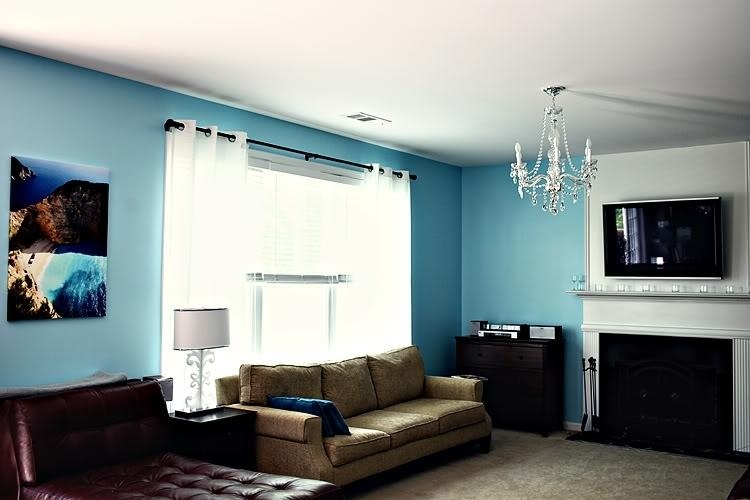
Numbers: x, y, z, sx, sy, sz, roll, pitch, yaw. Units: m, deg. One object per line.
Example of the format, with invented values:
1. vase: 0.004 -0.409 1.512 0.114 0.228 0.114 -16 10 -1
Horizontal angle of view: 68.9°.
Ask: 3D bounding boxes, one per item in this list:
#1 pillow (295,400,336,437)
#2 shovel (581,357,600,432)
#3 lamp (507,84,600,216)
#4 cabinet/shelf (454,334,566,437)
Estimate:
1. pillow: -0.530 1.364 4.763 0.258 0.370 0.435 -5 4 -28
2. shovel: 2.731 1.805 6.889 0.182 0.914 0.108 -3 -4 28
3. lamp: 1.891 -1.096 5.698 0.829 1.117 0.809 -9 4 -28
4. cabinet/shelf: 1.703 1.691 6.723 1.206 1.076 0.501 -3 -7 28
